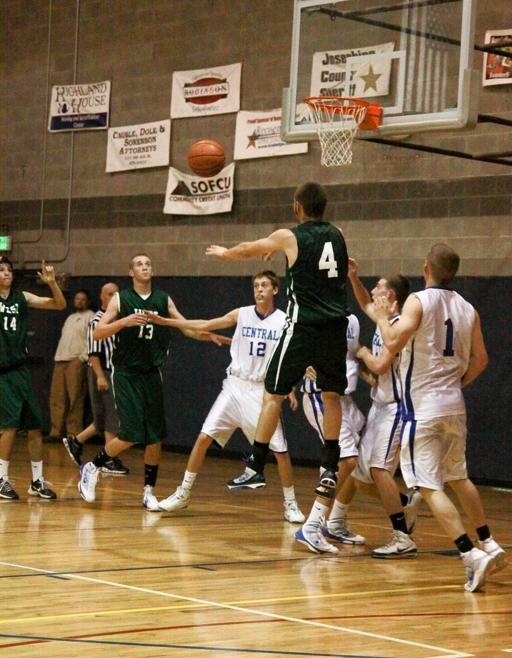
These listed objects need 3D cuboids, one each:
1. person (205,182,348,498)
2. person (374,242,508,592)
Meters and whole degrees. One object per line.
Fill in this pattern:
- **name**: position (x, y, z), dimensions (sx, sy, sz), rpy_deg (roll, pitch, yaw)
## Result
- **person**: position (0.188, 0.047, 3.917), dimensions (0.618, 1.716, 0.345), rpy_deg (3, 4, 6)
- **person**: position (0.838, 0.413, 3.372), dimensions (0.625, 1.644, 0.657), rpy_deg (3, 4, 8)
